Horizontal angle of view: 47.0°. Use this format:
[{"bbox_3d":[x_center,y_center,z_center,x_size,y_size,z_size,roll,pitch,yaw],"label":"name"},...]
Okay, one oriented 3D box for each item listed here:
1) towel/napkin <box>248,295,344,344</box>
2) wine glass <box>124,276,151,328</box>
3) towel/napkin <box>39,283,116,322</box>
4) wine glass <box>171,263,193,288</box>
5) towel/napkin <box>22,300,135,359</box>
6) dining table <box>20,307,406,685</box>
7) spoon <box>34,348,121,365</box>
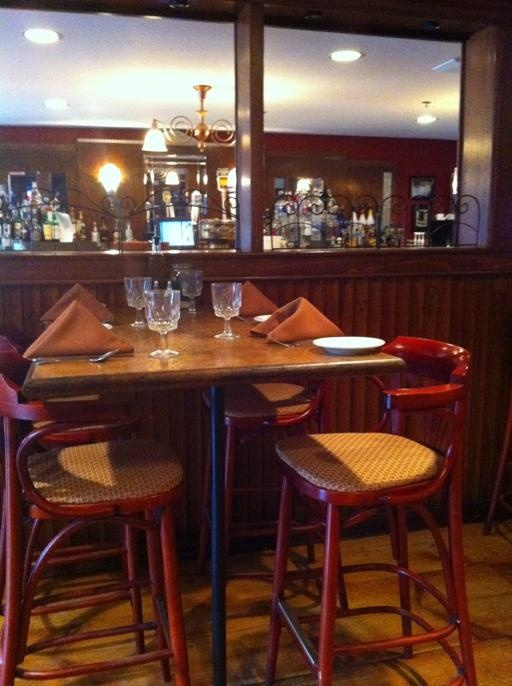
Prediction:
[{"bbox_3d":[0.089,-0.072,1.335,0.193,0.081,0.166,-3,27,-34],"label":"towel/napkin"},{"bbox_3d":[-0.335,-0.125,1.692,0.126,0.133,0.124,-1,6,-4],"label":"wine glass"},{"bbox_3d":[-0.511,-0.124,1.728,0.156,0.060,0.152,5,17,-2],"label":"towel/napkin"},{"bbox_3d":[-0.246,-0.221,1.909,0.078,0.084,0.076,-1,9,-10],"label":"wine glass"},{"bbox_3d":[-0.354,-0.031,1.139,0.167,0.071,0.207,-21,31,-22],"label":"towel/napkin"},{"bbox_3d":[-0.153,0.407,1.361,0.643,0.909,0.642,-2,14,-18],"label":"dining table"},{"bbox_3d":[-0.327,0.023,1.072,0.124,0.022,0.021,-1,28,-11],"label":"spoon"}]
